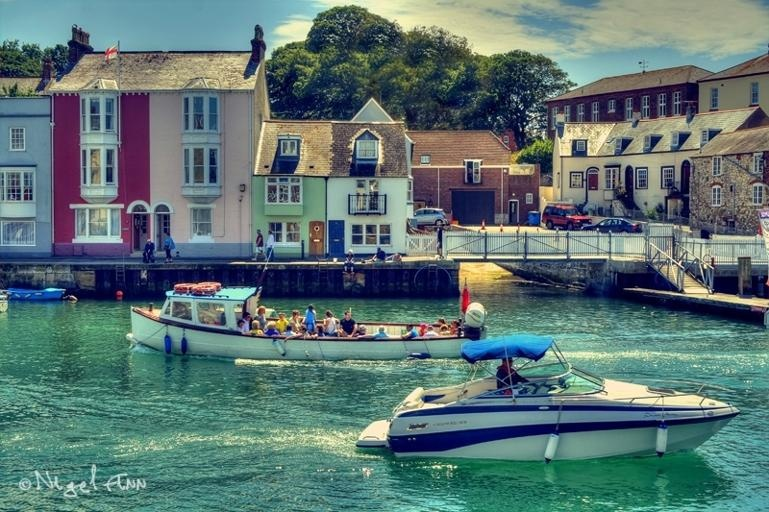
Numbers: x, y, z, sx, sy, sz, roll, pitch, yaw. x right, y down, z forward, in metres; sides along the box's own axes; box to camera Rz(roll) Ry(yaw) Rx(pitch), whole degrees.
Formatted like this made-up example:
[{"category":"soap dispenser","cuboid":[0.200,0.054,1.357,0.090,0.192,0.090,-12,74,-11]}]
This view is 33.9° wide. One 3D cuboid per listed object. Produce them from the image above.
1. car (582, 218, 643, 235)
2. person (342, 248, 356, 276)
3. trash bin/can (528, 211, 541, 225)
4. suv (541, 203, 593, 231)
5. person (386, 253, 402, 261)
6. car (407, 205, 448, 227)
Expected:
[{"category":"car","cuboid":[19.192,-2.520,105.324,4.361,1.295,1.766,2,0,13]},{"category":"person","cuboid":[-2.549,0.446,90.556,0.813,1.656,1.312,0,3,-1]},{"category":"trash bin/can","cuboid":[14.219,-3.529,119.164,1.360,1.353,1.272,1,-2,-2]},{"category":"suv","cuboid":[16.032,-3.488,110.766,2.884,2.238,7.618,0,2,-5]},{"category":"person","cuboid":[0.685,0.085,90.829,0.845,0.365,0.655,-3,-2,41]},{"category":"car","cuboid":[3.897,-3.382,110.173,2.916,1.104,1.611,2,0,0]}]
